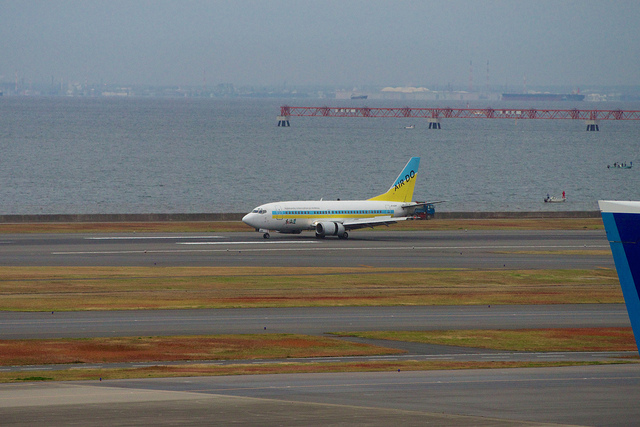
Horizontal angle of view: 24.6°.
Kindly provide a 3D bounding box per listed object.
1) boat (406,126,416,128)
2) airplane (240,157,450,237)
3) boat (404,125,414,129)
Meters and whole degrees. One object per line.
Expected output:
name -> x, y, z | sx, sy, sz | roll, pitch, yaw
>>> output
boat -> 30.007, -28.143, 474.301 | 2.731, 0.623, 2.162 | 2, 7, -4
airplane -> 3.861, -2.806, 250.040 | 27.514, 13.575, 9.451 | -1, 6, -34
boat -> 29.517, -28.427, 478.135 | 4.000, 0.980, 3.507 | 5, 10, 31
